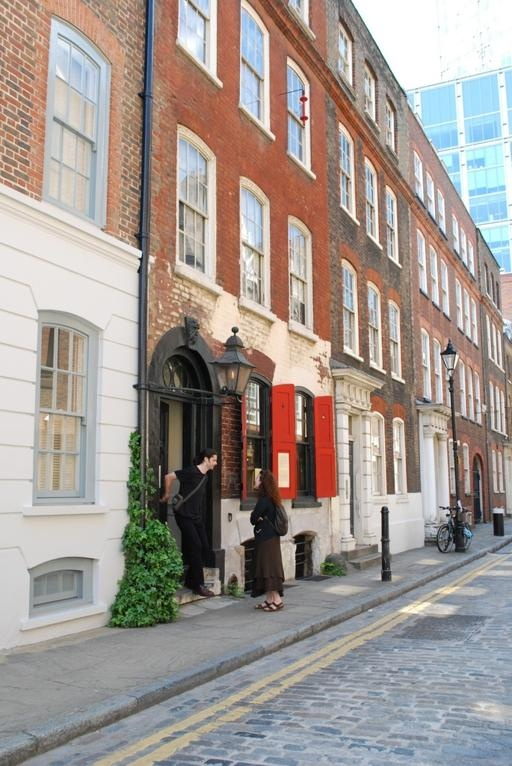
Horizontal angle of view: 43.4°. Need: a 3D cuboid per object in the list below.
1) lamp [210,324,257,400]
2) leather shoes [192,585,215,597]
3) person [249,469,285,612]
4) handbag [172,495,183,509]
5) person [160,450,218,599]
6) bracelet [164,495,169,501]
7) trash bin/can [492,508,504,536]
[{"bbox_3d":[-0.317,-0.311,8.882,0.502,0.981,0.620,1,-9,0],"label":"lamp"},{"bbox_3d":[-0.692,2.760,8.453,0.302,0.172,0.122,1,-1,-3],"label":"leather shoes"},{"bbox_3d":[0.153,2.050,8.431,0.484,1.770,0.629,0,-8,3],"label":"person"},{"bbox_3d":[-0.991,1.524,8.171,0.095,0.197,0.117,26,-12,-31],"label":"handbag"},{"bbox_3d":[-0.870,1.865,8.443,0.636,1.928,1.307,0,-9,2],"label":"person"},{"bbox_3d":[-1.143,1.478,8.140,0.063,0.088,0.076,-1,-3,9],"label":"bracelet"},{"bbox_3d":[8.477,4.919,22.553,0.276,0.944,0.530,-1,-9,13],"label":"trash bin/can"}]
